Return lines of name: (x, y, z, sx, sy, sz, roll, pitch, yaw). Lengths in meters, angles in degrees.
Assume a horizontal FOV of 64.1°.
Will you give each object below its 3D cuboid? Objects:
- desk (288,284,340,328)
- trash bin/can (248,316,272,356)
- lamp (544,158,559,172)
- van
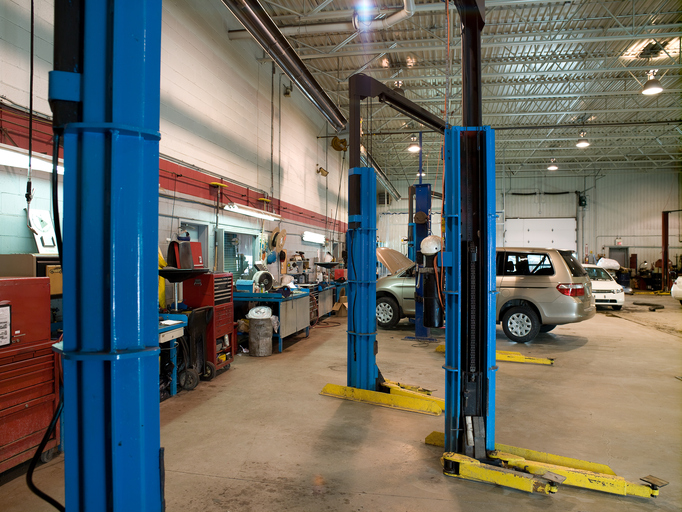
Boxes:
desk: (-1.029, 1.365, 13.809, 0.415, 0.733, 3.133, -5, -6, -18)
trash bin/can: (-1.346, 1.355, 9.134, 0.511, 0.856, 0.539, 0, -4, -3)
lamp: (8.999, -3.976, 23.379, 0.658, 0.729, 0.615, -5, 9, -40)
van: (2.698, 0.629, 10.740, 4.123, 1.692, 1.998, 2, 2, 20)
